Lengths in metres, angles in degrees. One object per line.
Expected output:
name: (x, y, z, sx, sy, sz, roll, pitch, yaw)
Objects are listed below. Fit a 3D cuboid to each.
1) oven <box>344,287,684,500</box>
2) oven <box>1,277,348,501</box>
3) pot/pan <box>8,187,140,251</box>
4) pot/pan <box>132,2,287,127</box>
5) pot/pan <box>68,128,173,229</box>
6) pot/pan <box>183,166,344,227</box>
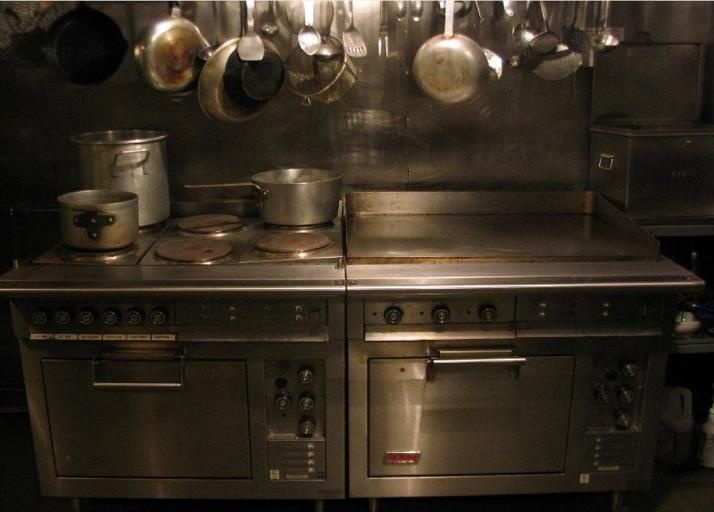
oven: (0.721, 0.639, 3.165, 1.271, 0.792, 0.850, -6, -23, 28)
oven: (-0.674, 0.320, 3.076, 1.328, 0.864, 0.822, -1, 13, -1)
pot/pan: (-1.021, -0.143, 3.006, 0.313, 0.177, 0.303, -2, 18, -14)
pot/pan: (-0.566, -0.809, 3.124, 0.554, 0.518, 0.345, 0, 4, 24)
pot/pan: (-1.026, -0.328, 3.246, 0.419, 0.383, 0.420, -12, 26, -32)
pot/pan: (-0.357, -0.274, 3.212, 0.534, 0.138, 0.280, -3, 12, 0)
